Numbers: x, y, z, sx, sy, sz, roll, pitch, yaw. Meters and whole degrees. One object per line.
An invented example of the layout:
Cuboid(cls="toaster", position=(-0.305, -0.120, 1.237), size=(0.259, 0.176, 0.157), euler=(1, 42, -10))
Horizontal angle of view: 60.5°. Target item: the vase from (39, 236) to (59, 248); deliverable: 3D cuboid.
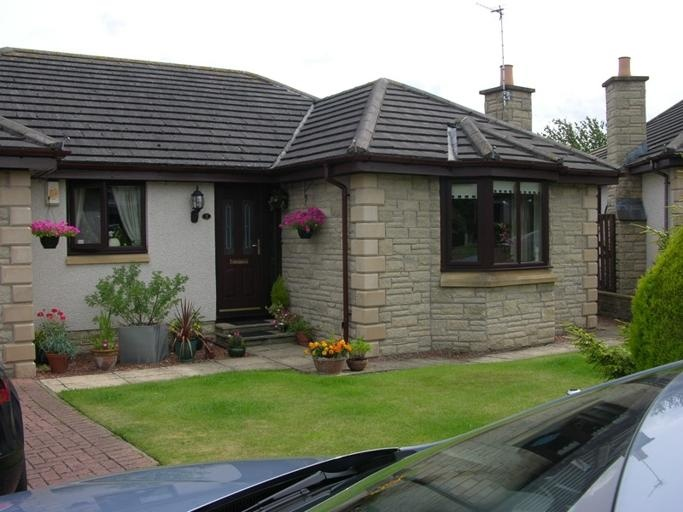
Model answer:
Cuboid(cls="vase", position=(-4.891, -0.238, 9.810), size=(0.255, 0.159, 0.236), euler=(-1, 3, -8))

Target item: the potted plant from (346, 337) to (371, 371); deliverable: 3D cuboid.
Cuboid(cls="potted plant", position=(0.262, 1.587, 9.440), size=(0.645, 0.564, 0.455), euler=(1, -4, -5))

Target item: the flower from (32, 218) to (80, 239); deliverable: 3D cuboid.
Cuboid(cls="flower", position=(-4.752, -0.437, 9.623), size=(0.512, 0.212, 0.418), euler=(2, 2, -8))

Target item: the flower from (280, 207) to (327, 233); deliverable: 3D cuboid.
Cuboid(cls="flower", position=(-0.689, -0.673, 11.085), size=(0.697, 0.339, 0.516), euler=(2, 6, 34))

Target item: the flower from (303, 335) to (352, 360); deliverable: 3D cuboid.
Cuboid(cls="flower", position=(-0.192, 1.443, 9.271), size=(0.564, 0.348, 0.566), euler=(-1, -1, 1))

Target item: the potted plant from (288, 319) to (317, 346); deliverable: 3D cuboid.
Cuboid(cls="potted plant", position=(-0.781, 1.477, 11.585), size=(0.681, 0.578, 0.482), euler=(1, -7, -4))

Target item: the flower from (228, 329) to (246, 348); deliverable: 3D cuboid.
Cuboid(cls="flower", position=(-1.935, 1.514, 10.659), size=(0.332, 0.384, 0.313), euler=(0, -5, -15))

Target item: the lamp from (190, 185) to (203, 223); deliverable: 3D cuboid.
Cuboid(cls="lamp", position=(-2.806, -1.004, 11.341), size=(0.263, 0.692, 0.337), euler=(-2, 0, -14))

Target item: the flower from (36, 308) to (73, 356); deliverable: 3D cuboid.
Cuboid(cls="flower", position=(-4.769, 1.251, 9.747), size=(0.563, 0.765, 0.978), euler=(-2, 0, -26))

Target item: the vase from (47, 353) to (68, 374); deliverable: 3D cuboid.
Cuboid(cls="vase", position=(-4.529, 1.703, 9.395), size=(0.360, 0.241, 0.331), euler=(1, -2, -4))

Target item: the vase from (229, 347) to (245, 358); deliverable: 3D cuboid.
Cuboid(cls="vase", position=(-1.880, 1.723, 10.530), size=(0.286, 0.161, 0.327), euler=(-2, 0, -13))
